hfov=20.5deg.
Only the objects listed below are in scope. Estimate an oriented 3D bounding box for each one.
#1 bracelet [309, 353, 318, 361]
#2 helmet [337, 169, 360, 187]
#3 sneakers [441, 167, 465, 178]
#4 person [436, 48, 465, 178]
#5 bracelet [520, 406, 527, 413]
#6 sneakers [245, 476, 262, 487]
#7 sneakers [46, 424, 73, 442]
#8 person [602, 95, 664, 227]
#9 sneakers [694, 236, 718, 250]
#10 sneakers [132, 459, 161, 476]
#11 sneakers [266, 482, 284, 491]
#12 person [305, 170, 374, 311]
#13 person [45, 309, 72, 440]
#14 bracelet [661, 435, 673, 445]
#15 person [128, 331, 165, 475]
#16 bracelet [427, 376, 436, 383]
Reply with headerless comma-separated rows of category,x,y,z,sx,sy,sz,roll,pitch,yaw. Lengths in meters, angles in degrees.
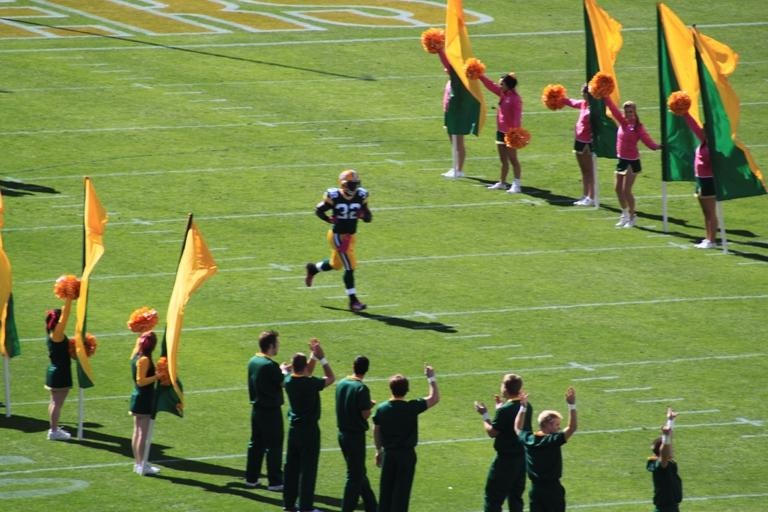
bracelet,-0.968,1.403,28.687,0.167,0.049,0.167,-1,-35,4
helmet,-0.552,-1.192,32.876,0.371,0.243,0.297,4,9,42
sneakers,1.230,-1.477,38.310,0.508,0.145,0.151,1,8,1
person,1.202,-2.582,38.311,0.665,2.364,1.099,6,7,1
bracelet,1.838,2.074,28.123,0.104,0.051,0.089,-2,9,-22
sneakers,-1.824,3.179,29.105,0.097,0.081,0.222,6,-8,-37
sneakers,-4.636,2.551,29.858,0.390,0.162,0.167,0,10,-14
person,4.129,-1.565,35.910,0.947,2.221,0.960,6,7,6
sneakers,5.380,-0.185,35.257,0.441,0.126,0.152,1,5,4
sneakers,-3.382,2.972,29.254,0.482,0.138,0.157,0,10,-13
sneakers,-1.517,3.224,29.022,0.303,0.091,0.092,-1,3,1
person,-0.714,-0.238,33.202,0.974,2.215,0.811,5,7,-3
person,-4.638,1.630,29.931,0.448,2.009,0.471,4,7,-10
bracelet,3.710,2.447,27.779,0.148,0.084,0.146,-4,-5,42
person,-3.323,2.062,29.190,0.576,1.989,0.336,11,9,42
bracelet,0.634,1.689,28.372,0.137,0.065,0.122,1,-1,-31
